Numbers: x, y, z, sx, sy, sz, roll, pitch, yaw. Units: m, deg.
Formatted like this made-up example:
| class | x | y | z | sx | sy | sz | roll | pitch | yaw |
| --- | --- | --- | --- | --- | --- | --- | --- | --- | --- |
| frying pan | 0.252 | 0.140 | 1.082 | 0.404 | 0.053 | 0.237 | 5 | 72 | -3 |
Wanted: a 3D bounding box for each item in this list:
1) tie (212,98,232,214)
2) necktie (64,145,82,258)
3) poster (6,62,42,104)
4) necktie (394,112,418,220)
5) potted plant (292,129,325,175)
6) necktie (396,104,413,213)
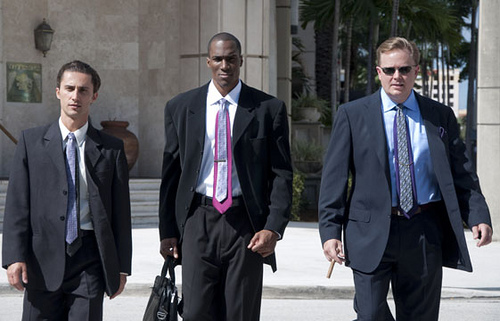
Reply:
| class | x | y | z | sx | sy | sz | roll | pitch | yaw |
| --- | --- | --- | --- | --- | --- | --- | --- | --- | --- |
| tie | -0.418 | -0.045 | 14.764 | 0.242 | 1.434 | 0.232 | 0 | 0 | 4 |
| necktie | -2.472 | 0.598 | 14.469 | 0.196 | 1.516 | 0.271 | 1 | 4 | 17 |
| poster | -5.680 | -1.926 | 25.710 | 0.848 | 0.982 | 0.058 | -1 | 4 | -24 |
| necktie | 2.199 | 0.161 | 14.697 | 0.269 | 1.327 | 0.049 | -4 | -9 | 4 |
| potted plant | 1.511 | -0.205 | 28.801 | 0.734 | 1.336 | 1.015 | 1 | 3 | 12 |
| necktie | 2.198 | 0.019 | 14.658 | 0.209 | 1.300 | 0.223 | 0 | 0 | 3 |
